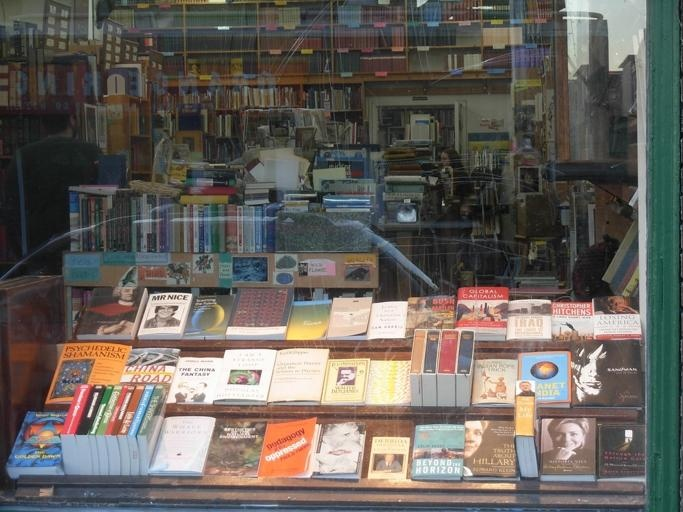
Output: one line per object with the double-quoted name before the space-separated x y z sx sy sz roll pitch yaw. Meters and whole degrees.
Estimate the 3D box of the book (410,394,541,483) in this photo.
"book" 0.537 0.718 3.331 0.362 0.093 0.399 0 39 10

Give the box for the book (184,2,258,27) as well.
"book" -0.681 -1.322 4.625 0.411 0.138 0.137 -1 19 -4

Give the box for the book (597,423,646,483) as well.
"book" 1.118 0.774 3.352 0.224 0.214 0.049 8 -5 -5

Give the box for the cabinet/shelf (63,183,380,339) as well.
"cabinet/shelf" -0.627 -0.055 5.015 2.086 0.651 1.208 2 4 0

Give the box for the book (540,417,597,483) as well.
"book" 0.909 0.772 3.365 0.209 0.195 0.168 0 13 13

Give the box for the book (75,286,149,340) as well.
"book" -1.034 0.267 3.765 0.217 0.054 0.238 1 45 5

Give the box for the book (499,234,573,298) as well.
"book" 0.951 0.045 4.164 0.223 0.261 0.369 -1 -1 2

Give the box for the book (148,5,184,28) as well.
"book" -0.912 -1.243 4.388 0.134 0.109 0.393 -2 13 2

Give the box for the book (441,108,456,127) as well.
"book" 0.593 -0.774 4.712 0.055 0.100 0.099 -12 16 -35
